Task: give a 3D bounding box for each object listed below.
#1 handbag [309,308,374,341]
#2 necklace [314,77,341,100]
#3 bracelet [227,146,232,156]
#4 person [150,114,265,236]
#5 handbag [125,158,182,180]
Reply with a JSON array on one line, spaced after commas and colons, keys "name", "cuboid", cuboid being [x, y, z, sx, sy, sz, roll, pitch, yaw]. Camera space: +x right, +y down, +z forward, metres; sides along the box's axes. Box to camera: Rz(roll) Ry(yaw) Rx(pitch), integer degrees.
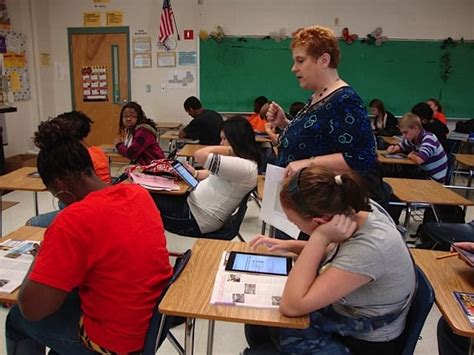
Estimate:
[{"name": "handbag", "cuboid": [0.403, 0.579, 1.349, 0.193, 0.100, 0.115, 18, -1, 15]}, {"name": "necklace", "cuboid": [0.478, -0.476, 1.849, 0.035, 0.131, 0.100, 47, 22, 27]}, {"name": "bracelet", "cuboid": [-0.056, -0.204, 2.567, 0.038, 0.049, 0.044, 0, -29, 8]}, {"name": "person", "cuboid": [-0.417, 0.020, 2.746, 1.158, 0.669, 0.591, 0, 3, 15]}, {"name": "handbag", "cuboid": [-0.705, -0.081, 2.912, 0.327, 0.128, 0.238, 4, 7, 3]}]
